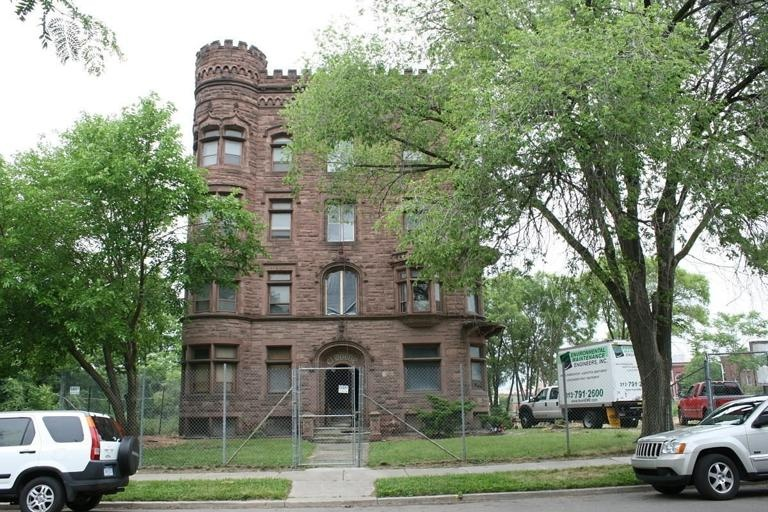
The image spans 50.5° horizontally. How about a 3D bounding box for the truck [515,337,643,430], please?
[{"bbox_3d":[10.307,7.145,43.169,3.482,4.814,9.866,8,-17,-28],"label":"truck"}]
